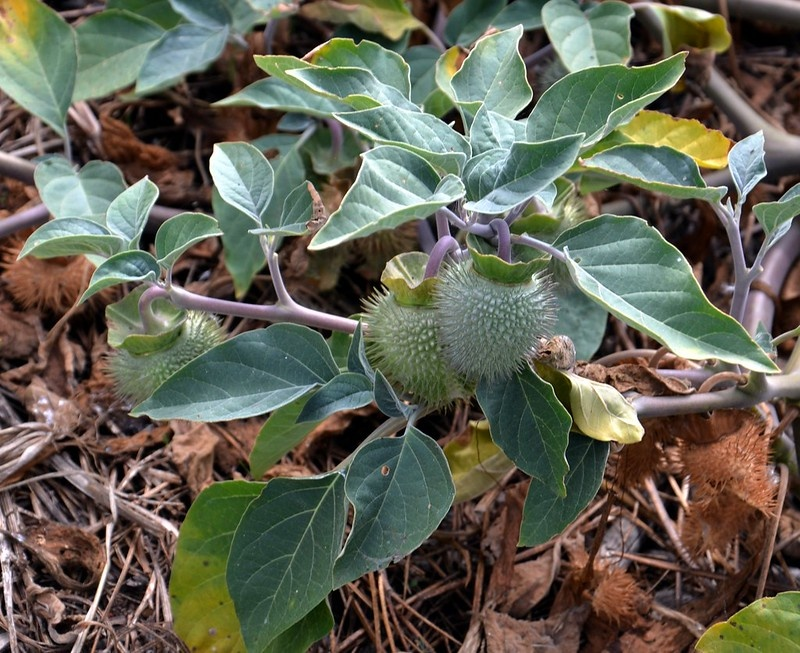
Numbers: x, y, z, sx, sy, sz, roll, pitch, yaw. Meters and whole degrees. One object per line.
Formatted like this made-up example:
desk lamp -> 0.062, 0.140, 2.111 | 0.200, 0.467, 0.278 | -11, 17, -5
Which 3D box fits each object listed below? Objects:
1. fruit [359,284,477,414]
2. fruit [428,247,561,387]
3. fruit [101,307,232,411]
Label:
fruit -> 0.034, 0.035, 1.788 | 0.228, 0.225, 0.223 | 44, 91, 10
fruit -> 0.202, -0.006, 1.691 | 0.217, 0.213, 0.243 | 18, 96, 43
fruit -> -0.514, 0.097, 1.810 | 0.166, 0.159, 0.134 | -8, 109, -27
